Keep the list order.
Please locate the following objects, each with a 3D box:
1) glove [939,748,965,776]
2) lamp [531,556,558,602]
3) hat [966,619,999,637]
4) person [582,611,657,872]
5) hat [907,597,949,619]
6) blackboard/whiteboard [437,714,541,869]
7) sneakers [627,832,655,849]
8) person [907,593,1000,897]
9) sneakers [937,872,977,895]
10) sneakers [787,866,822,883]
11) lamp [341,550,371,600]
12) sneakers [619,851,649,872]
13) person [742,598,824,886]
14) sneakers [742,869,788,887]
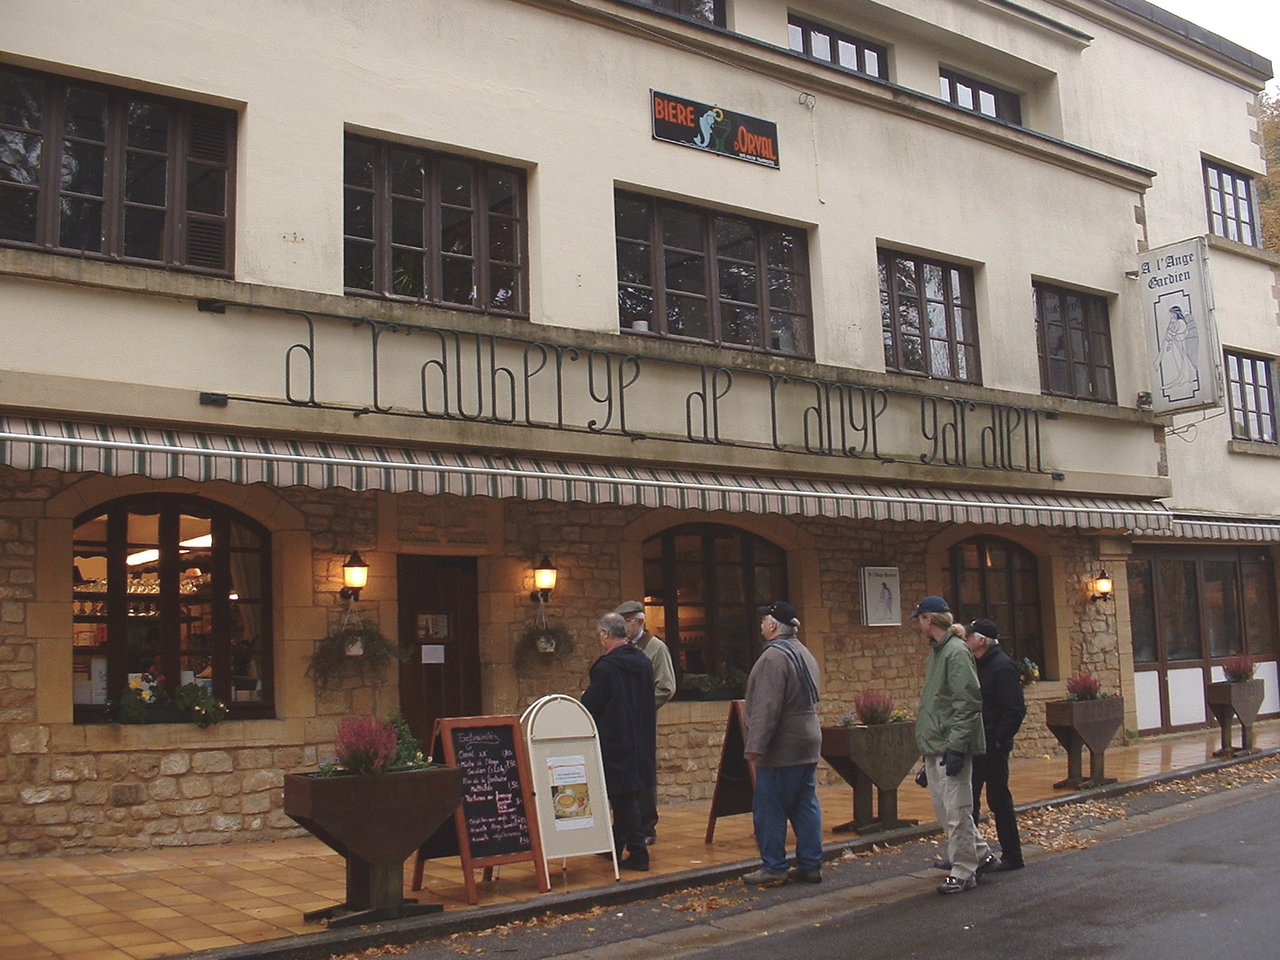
[{"bbox_3d":[2.567,2.336,11.126,0.122,0.209,0.209,4,-15,-10],"label":"glove"},{"bbox_3d":[-1.049,1.116,15.133,0.320,0.480,0.204,1,-10,-24],"label":"lamp"},{"bbox_3d":[3.098,1.352,12.221,0.217,0.135,0.162,21,-2,15],"label":"hat"},{"bbox_3d":[-0.186,2.344,12.095,0.617,2.248,0.281,-2,-9,-3],"label":"person"},{"bbox_3d":[2.457,1.112,11.614,0.244,0.137,0.173,-9,-11,44],"label":"hat"},{"bbox_3d":[-1.355,2.719,11.500,0.809,1.324,0.818,4,-11,-42],"label":"blackboard/whiteboard"},{"bbox_3d":[0.012,3.271,12.250,0.199,0.072,0.213,-2,-5,6],"label":"sneakers"},{"bbox_3d":[2.594,2.199,11.310,0.522,2.430,0.371,-4,-9,10],"label":"person"},{"bbox_3d":[2.624,3.357,11.236,0.329,0.151,0.131,8,-15,-28],"label":"sneakers"},{"bbox_3d":[1.411,3.397,11.627,0.322,0.149,0.121,0,-4,44],"label":"sneakers"},{"bbox_3d":[-2.942,1.001,14.001,0.302,0.480,0.228,1,-10,-25],"label":"lamp"},{"bbox_3d":[-0.060,3.377,12.069,0.280,0.211,0.367,-3,-10,-2],"label":"sneakers"},{"bbox_3d":[1.235,2.437,11.629,0.724,2.049,0.502,-1,-9,-11],"label":"person"},{"bbox_3d":[1.063,3.419,11.548,0.341,0.163,0.147,3,-7,7],"label":"sneakers"}]
